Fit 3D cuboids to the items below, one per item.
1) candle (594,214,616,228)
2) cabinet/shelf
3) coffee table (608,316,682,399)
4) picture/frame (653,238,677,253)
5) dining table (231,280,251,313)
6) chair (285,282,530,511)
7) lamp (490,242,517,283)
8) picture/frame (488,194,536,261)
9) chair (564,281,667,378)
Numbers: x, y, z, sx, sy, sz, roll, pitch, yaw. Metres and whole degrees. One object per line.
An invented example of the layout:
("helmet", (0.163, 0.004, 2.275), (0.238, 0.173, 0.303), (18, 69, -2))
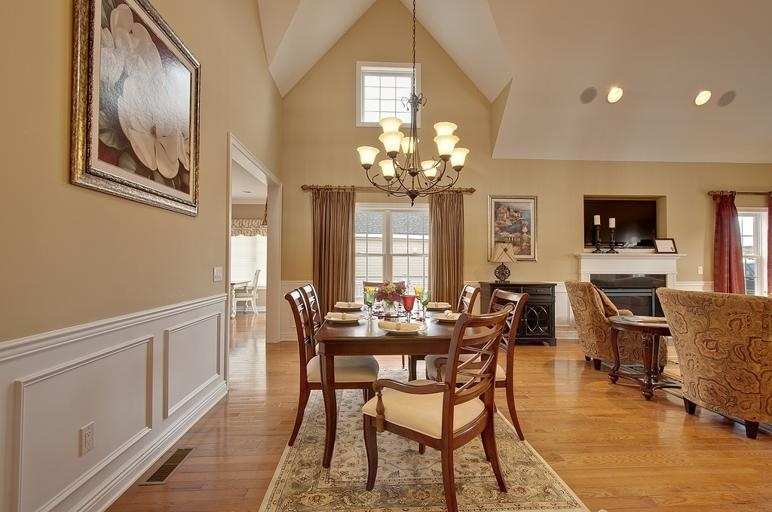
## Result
("candle", (3.344, -0.525, 7.686), (0.500, 0.194, 0.182), (1, 0, -25))
("cabinet/shelf", (1.605, 0.699, 6.058), (0.919, 0.846, 0.463), (1, -2, -2))
("coffee table", (2.817, 1.107, 5.669), (0.778, 0.731, 0.833), (1, -8, -3))
("picture/frame", (4.276, -0.155, 7.756), (0.234, 0.229, 0.016), (3, -18, -1))
("dining table", (-2.929, 0.846, 10.130), (0.325, 0.799, 2.766), (0, 1, -15))
("chair", (0.128, 1.080, 4.709), (1.293, 1.610, 2.143), (1, 0, -35))
("lamp", (1.730, 0.101, 7.508), (0.324, 0.570, 0.460), (1, 2, 16))
("picture/frame", (1.861, -0.391, 7.666), (1.028, 1.318, 0.091), (0, -3, -5))
("chair", (2.668, 0.843, 6.563), (1.209, 1.294, 0.952), (-1, -2, -1))
